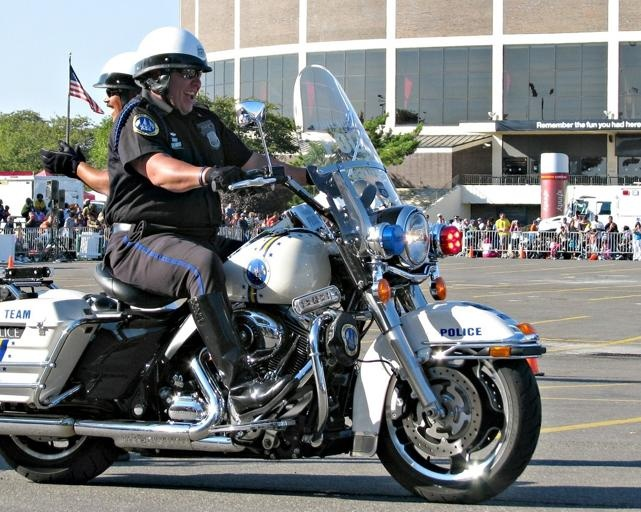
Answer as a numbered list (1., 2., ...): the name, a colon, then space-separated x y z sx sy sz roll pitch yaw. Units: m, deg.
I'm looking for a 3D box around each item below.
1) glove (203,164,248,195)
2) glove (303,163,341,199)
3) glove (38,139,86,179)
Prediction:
1. glove: -0.593 -0.483 7.232 0.234 0.150 0.102 -26 -17 -1
2. glove: 0.032 -0.487 7.581 0.243 0.217 0.083 11 -51 -50
3. glove: -1.989 -0.738 9.001 0.390 0.249 0.174 14 1 -5
